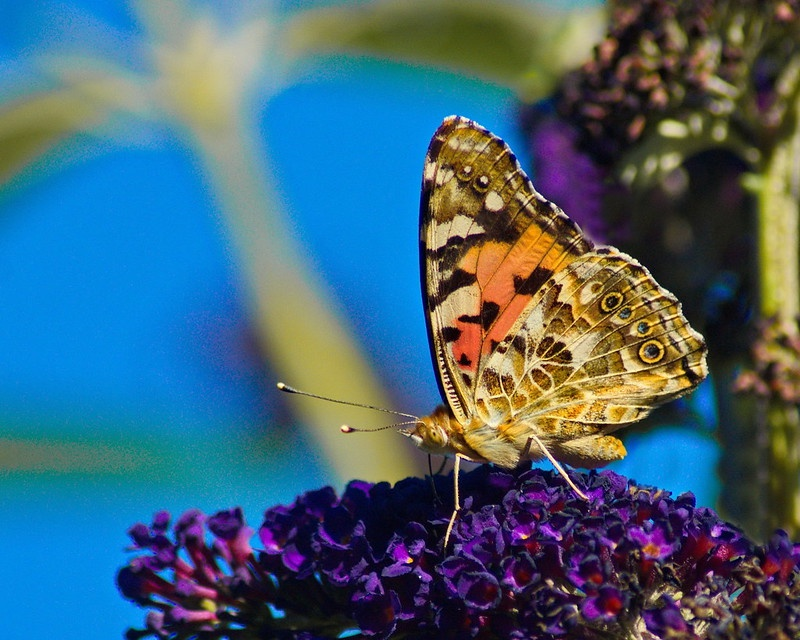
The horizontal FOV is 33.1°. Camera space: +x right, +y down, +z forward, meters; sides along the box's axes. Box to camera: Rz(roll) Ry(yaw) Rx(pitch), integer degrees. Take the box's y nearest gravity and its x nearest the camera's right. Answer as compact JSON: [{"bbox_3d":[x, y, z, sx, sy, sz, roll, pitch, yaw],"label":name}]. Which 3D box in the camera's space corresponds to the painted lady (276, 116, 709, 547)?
[{"bbox_3d":[0.315,-0.021,4.727,1.277,1.476,0.731,-4,7,-34],"label":"painted lady"}]
